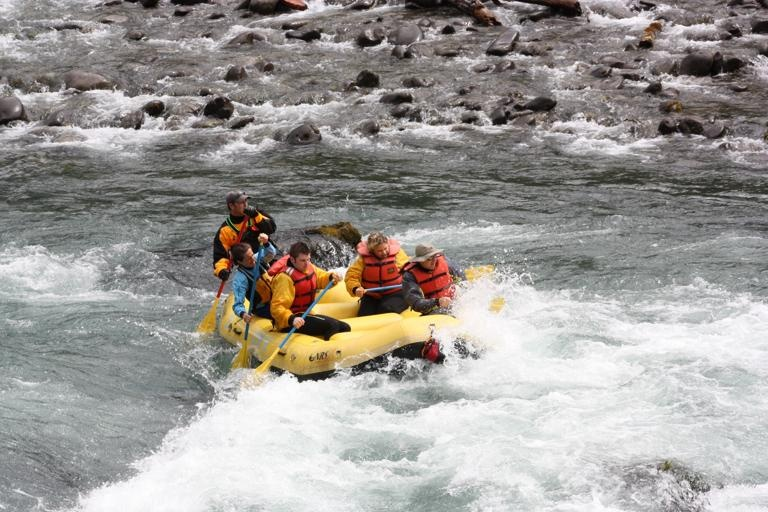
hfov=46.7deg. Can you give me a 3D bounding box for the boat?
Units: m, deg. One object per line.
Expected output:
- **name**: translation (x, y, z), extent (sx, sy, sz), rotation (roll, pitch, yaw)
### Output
- **boat**: translation (-0.997, 1.276, 16.404), extent (2.940, 0.662, 4.647), rotation (-16, 19, -37)

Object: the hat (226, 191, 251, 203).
- **hat**: translation (-2.839, -1.124, 16.977), extent (0.470, 0.145, 0.260), rotation (-9, 7, 8)

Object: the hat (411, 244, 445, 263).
- **hat**: translation (0.666, -0.031, 15.618), extent (0.423, 0.126, 0.441), rotation (-17, 4, -40)

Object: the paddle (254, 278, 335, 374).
- **paddle**: translation (-1.601, 1.265, 15.480), extent (2.485, 0.342, 0.397), rotation (-35, -25, -4)
